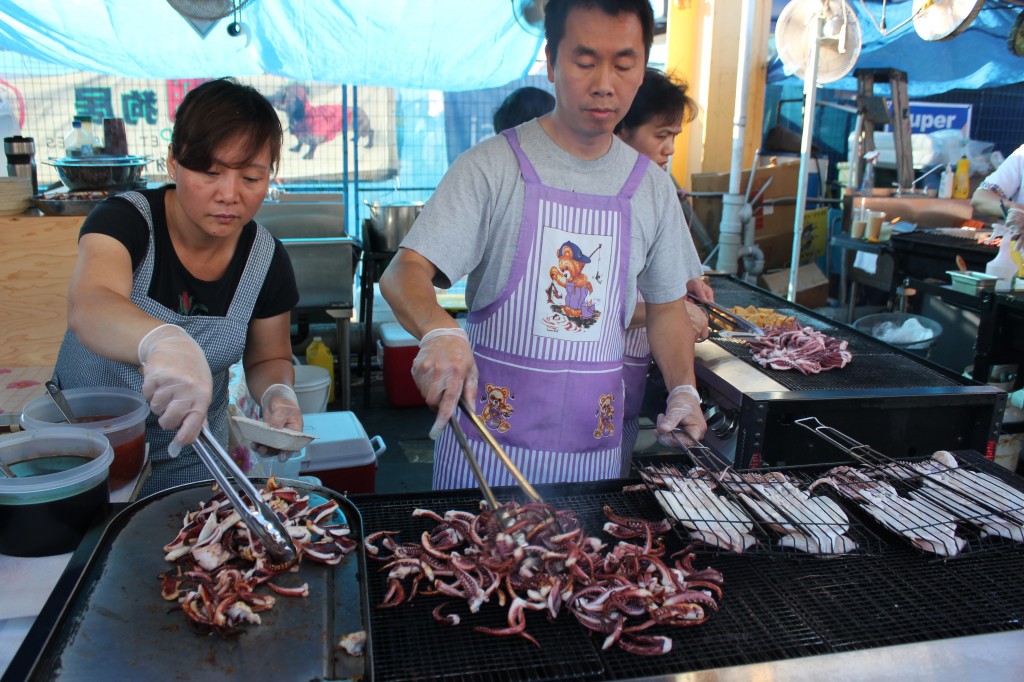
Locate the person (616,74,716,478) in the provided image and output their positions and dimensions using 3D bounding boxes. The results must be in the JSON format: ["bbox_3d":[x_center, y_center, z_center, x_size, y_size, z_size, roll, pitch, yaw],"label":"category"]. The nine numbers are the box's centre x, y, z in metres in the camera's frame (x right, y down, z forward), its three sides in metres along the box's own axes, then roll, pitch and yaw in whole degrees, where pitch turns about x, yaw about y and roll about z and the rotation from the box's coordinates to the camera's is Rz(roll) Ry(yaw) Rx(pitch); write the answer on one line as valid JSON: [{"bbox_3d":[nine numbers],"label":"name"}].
[{"bbox_3d":[0.820,-0.387,3.875,0.571,2.182,0.605,1,-9,0],"label":"person"}]

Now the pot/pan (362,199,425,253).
[{"bbox_3d":[-1.192,-1.058,7.047,0.573,0.477,0.489,-1,-2,20],"label":"pot/pan"}]

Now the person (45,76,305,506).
[{"bbox_3d":[-1.177,-0.236,2.833,0.827,2.103,0.892,-14,26,-43],"label":"person"}]

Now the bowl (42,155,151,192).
[{"bbox_3d":[-2.773,-1.117,4.960,0.407,0.149,0.406,0,9,0],"label":"bowl"}]

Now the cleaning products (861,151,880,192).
[{"bbox_3d":[3.922,-1.854,7.902,0.133,0.421,0.310,7,17,25],"label":"cleaning products"}]

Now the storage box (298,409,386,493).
[{"bbox_3d":[-0.909,0.423,3.990,0.704,0.345,0.446,1,31,-19],"label":"storage box"}]

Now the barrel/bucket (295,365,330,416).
[{"bbox_3d":[-1.637,0.373,6.002,0.363,0.318,0.365,3,21,-1],"label":"barrel/bucket"}]

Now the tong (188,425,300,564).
[{"bbox_3d":[-0.909,0.470,2.366,0.603,0.066,0.102,42,28,21],"label":"tong"}]
